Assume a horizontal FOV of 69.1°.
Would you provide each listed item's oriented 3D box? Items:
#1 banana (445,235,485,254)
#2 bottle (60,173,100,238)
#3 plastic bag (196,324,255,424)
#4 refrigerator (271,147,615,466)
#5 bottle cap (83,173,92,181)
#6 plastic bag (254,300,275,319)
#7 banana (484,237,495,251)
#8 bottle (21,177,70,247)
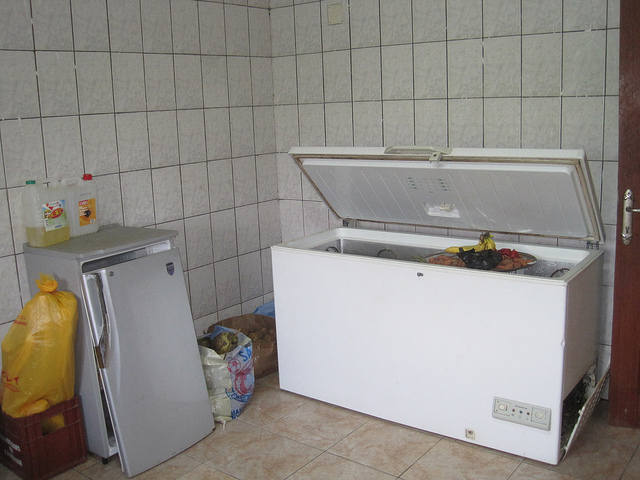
[{"bbox_3d":[0.803,0.021,2.653,0.241,0.161,0.082,2,8,33],"label":"banana"},{"bbox_3d":[-1.296,-0.205,2.540,0.159,0.277,0.157,8,21,-3],"label":"bottle"},{"bbox_3d":[-0.524,0.831,2.742,0.252,0.459,0.363,-8,-4,28],"label":"plastic bag"},{"bbox_3d":[0.643,0.183,2.729,1.554,1.529,0.872,5,15,32],"label":"refrigerator"},{"bbox_3d":[-1.279,-0.347,2.548,0.039,0.031,0.040,8,14,39],"label":"bottle cap"},{"bbox_3d":[-0.393,0.514,3.485,0.101,0.028,0.111,7,22,27],"label":"plastic bag"},{"bbox_3d":[0.918,0.027,2.523,0.062,0.068,0.042,-17,14,19],"label":"banana"},{"bbox_3d":[-1.408,-0.130,2.371,0.144,0.395,0.236,10,22,44],"label":"bottle"}]
